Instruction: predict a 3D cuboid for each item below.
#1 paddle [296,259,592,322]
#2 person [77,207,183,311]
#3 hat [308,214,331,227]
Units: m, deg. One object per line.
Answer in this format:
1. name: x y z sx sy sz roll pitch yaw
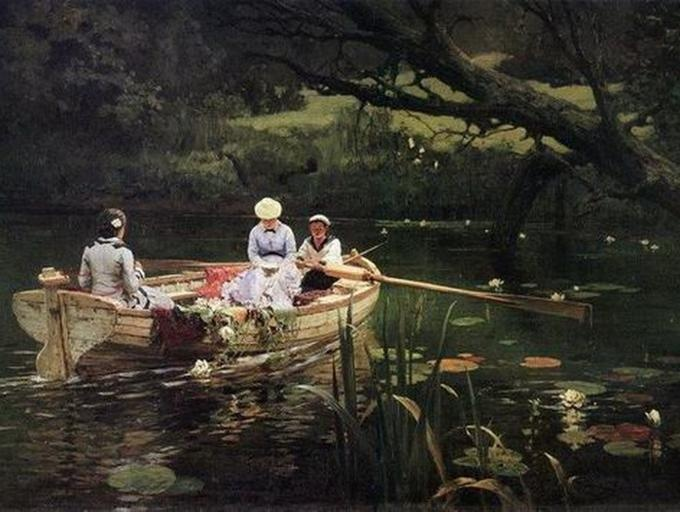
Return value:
1. paddle: 1.015 0.308 7.600 2.980 0.296 0.156 8 -16 17
2. person: -1.976 0.034 7.478 0.770 0.883 0.223 1 -3 -17
3. hat: -0.201 -0.352 8.060 0.217 0.124 0.211 0 -3 -2
